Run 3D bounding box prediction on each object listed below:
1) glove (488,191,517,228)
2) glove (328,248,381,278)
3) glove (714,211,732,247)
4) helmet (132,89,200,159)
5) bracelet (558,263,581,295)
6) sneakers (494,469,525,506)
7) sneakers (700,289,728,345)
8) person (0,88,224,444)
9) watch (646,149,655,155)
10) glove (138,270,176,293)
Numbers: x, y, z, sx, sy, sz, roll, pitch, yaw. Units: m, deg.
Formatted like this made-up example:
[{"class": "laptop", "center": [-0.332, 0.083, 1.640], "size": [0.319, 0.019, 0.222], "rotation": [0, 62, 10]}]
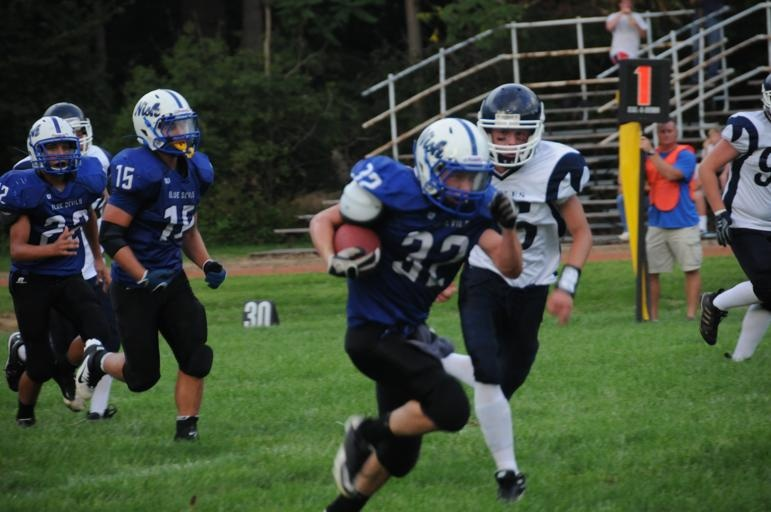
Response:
[{"class": "glove", "center": [0.822, -0.305, 6.940], "size": [0.100, 0.244, 0.184], "rotation": [-34, -26, -2]}, {"class": "glove", "center": [-0.206, 0.045, 6.993], "size": [0.432, 0.200, 0.138], "rotation": [-4, 6, -32]}, {"class": "glove", "center": [2.981, -0.242, 8.831], "size": [0.092, 0.263, 0.197], "rotation": [-5, -11, -22]}, {"class": "helmet", "center": [-1.826, -1.128, 8.318], "size": [0.606, 0.512, 0.490], "rotation": [18, 21, 31]}, {"class": "bracelet", "center": [1.395, 0.181, 7.610], "size": [0.151, 0.218, 0.196], "rotation": [2, 6, 25]}, {"class": "sneakers", "center": [0.922, 1.730, 7.471], "size": [0.123, 0.337, 0.159], "rotation": [-1, -8, 22]}, {"class": "sneakers", "center": [3.040, 0.596, 9.330], "size": [0.205, 0.578, 0.288], "rotation": [-12, 5, -44]}, {"class": "person", "center": [-1.930, 0.086, 8.325], "size": [1.124, 2.927, 0.620], "rotation": [-2, 6, -18]}, {"class": "watch", "center": [2.829, -1.099, 10.619], "size": [0.059, 0.036, 0.065], "rotation": [10, -9, -30]}, {"class": "glove", "center": [-1.867, 0.185, 8.094], "size": [0.179, 0.099, 0.213], "rotation": [-19, 8, 20]}]
